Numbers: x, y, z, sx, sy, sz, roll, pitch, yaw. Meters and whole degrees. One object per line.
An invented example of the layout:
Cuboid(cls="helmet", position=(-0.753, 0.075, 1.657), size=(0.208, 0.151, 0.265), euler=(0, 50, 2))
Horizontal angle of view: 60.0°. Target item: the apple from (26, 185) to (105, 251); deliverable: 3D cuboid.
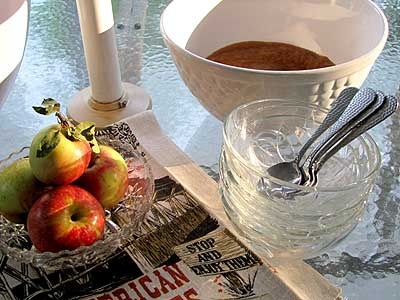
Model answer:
Cuboid(cls="apple", position=(-0.171, 0.089, 0.496), size=(0.084, 0.081, 0.084), euler=(24, 73, -2))

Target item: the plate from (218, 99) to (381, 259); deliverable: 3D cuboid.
Cuboid(cls="plate", position=(0.119, 0.043, 0.547), size=(0.205, 0.177, 0.222), euler=(6, 45, -1))

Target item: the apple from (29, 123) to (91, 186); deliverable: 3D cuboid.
Cuboid(cls="apple", position=(-0.181, 0.012, 0.480), size=(0.077, 0.078, 0.077), euler=(10, 36, -26))

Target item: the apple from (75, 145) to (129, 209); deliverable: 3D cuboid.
Cuboid(cls="apple", position=(-0.148, 0.046, 0.545), size=(0.079, 0.072, 0.077), euler=(2, 32, -13))
